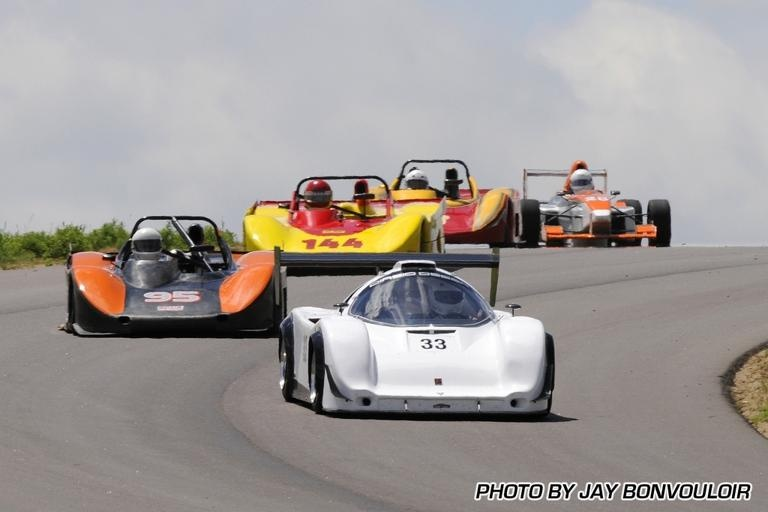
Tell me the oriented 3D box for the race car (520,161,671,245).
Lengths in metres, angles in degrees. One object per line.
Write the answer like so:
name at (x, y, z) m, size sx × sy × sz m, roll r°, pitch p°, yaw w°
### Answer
race car at (6.564, -1.625, 30.992) m, size 4.612 × 2.917 × 7.997 m, roll 0°, pitch 1°, yaw 5°

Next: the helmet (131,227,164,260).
helmet at (-3.486, -0.150, 13.675) m, size 0.357 × 0.399 × 0.447 m, roll -2°, pitch 10°, yaw -13°

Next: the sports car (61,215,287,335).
sports car at (-3.629, 0.333, 15.493) m, size 3.627 × 2.041 × 5.546 m, roll 0°, pitch 1°, yaw -14°

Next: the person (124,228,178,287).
person at (-3.458, 0.082, 13.741) m, size 1.052 × 0.702 × 1.574 m, roll -1°, pitch 18°, yaw -7°

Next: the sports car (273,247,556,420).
sports car at (0.333, 0.868, 10.872) m, size 2.622 × 1.569 × 4.406 m, roll 1°, pitch -1°, yaw -3°
